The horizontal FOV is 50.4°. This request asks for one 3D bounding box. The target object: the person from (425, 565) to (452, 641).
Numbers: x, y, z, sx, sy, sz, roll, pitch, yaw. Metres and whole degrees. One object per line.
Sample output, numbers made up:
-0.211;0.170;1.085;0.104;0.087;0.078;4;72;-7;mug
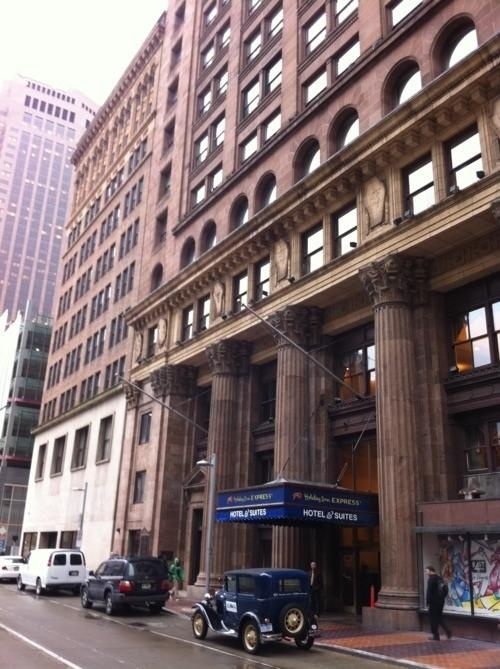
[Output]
4.143;5.925;11.783;0.450;1.485;1.570;-6;-21;17;person
